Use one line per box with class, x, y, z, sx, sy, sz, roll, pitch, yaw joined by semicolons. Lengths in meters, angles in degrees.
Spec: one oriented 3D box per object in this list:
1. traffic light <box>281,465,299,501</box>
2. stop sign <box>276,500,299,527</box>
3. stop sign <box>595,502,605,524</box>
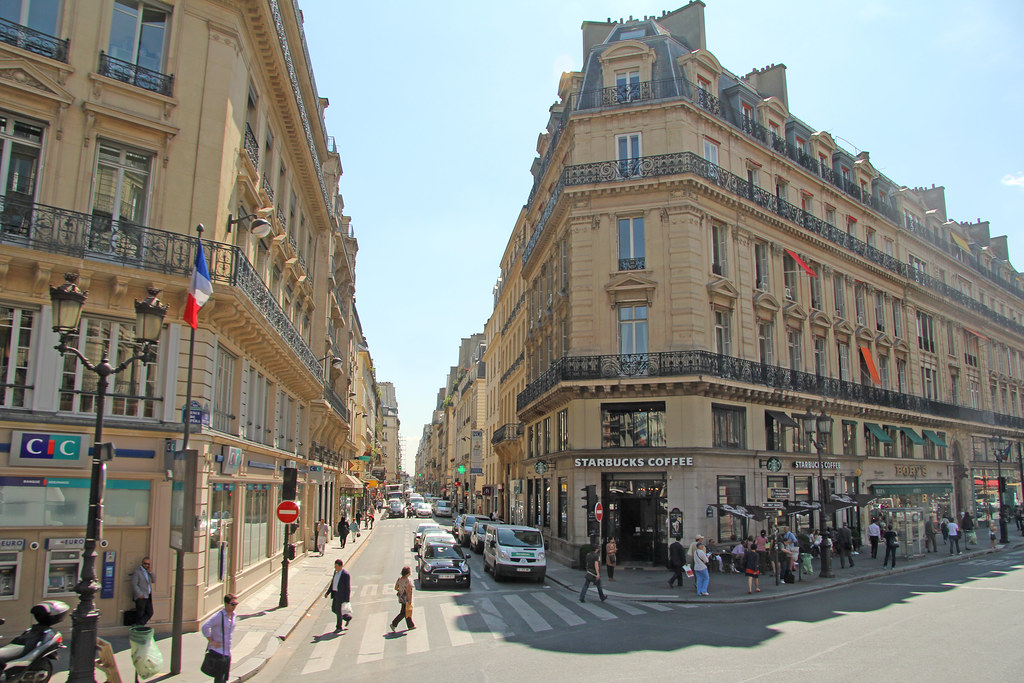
traffic light;-8.297;5.395;31.145;0.348;1.278;0.954;0;-17;-2
stop sign;-8.188;6.296;30.333;0.690;0.918;0.787;2;-17;-9
stop sign;3.898;7.637;37.318;0.276;0.963;1.464;-4;-18;11
